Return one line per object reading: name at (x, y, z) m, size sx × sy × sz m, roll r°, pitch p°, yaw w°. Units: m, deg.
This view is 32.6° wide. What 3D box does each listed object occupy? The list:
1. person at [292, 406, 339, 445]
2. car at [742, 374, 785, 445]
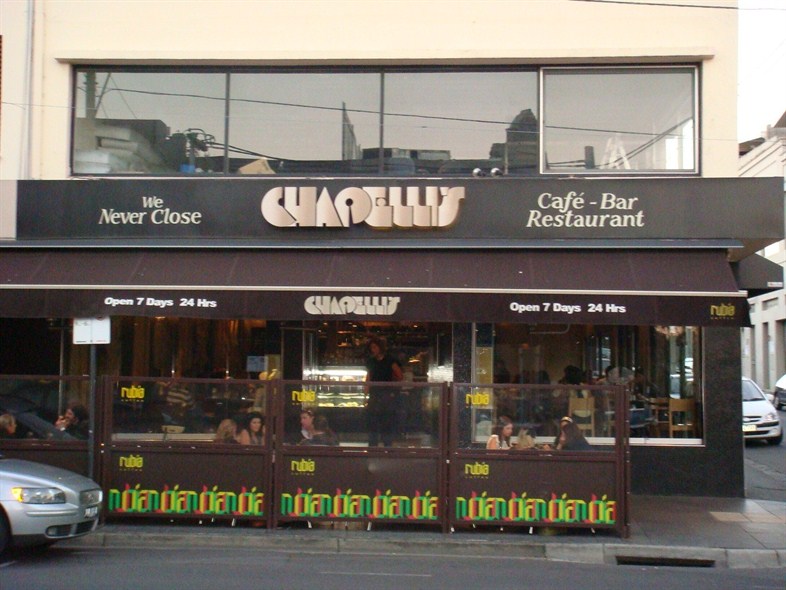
person at (-1.336, 2.134, 21.870) m, size 0.373 × 0.660 × 0.779 m, roll -3°, pitch 2°, yaw -35°
car at (8.387, 2.650, 30.937) m, size 1.416 × 1.217 × 2.563 m, roll -2°, pitch -9°, yaw 10°
